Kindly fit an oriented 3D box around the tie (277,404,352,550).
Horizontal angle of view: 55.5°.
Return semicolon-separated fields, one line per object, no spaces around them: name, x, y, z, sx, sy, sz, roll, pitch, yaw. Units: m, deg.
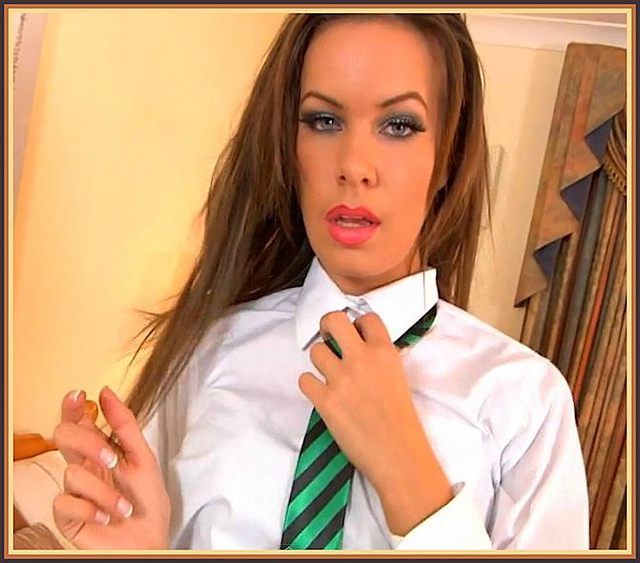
tie;-0.005;0.410;1.240;0.106;0.265;0.100;6;8;39
